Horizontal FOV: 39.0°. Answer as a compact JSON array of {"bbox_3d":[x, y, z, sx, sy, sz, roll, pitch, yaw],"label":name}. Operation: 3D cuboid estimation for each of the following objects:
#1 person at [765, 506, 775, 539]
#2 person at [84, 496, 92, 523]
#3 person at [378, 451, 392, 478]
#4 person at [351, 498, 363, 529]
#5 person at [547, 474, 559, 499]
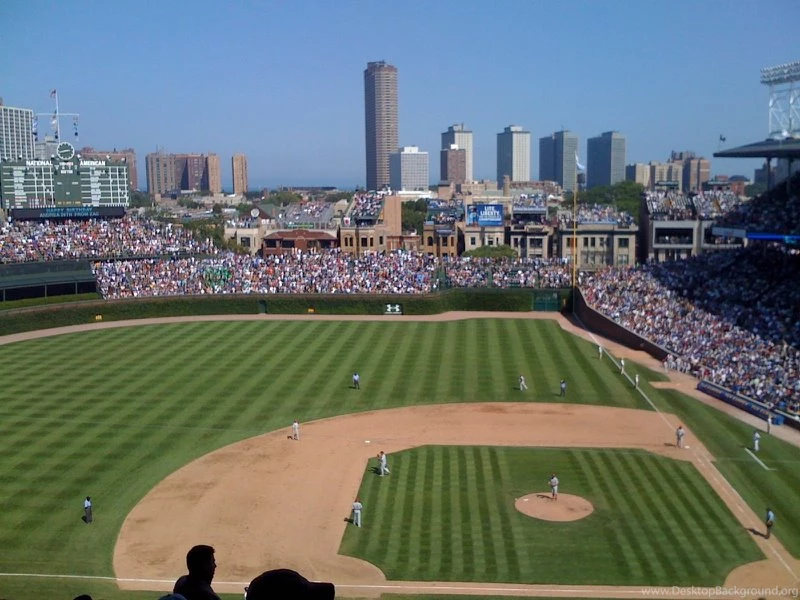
[{"bbox_3d":[21.063,12.344,63.938,0.482,1.512,2.237,4,12,21],"label":"person"},{"bbox_3d":[-18.140,11.975,65.478,0.497,1.519,1.327,-3,11,-15],"label":"person"},{"bbox_3d":[-1.005,9.914,70.396,0.830,1.497,2.366,0,11,-1],"label":"person"},{"bbox_3d":[-2.512,12.151,65.438,0.697,1.367,1.893,-1,11,-3],"label":"person"},{"bbox_3d":[9.133,10.967,67.247,0.555,0.796,1.276,3,29,6],"label":"person"}]
